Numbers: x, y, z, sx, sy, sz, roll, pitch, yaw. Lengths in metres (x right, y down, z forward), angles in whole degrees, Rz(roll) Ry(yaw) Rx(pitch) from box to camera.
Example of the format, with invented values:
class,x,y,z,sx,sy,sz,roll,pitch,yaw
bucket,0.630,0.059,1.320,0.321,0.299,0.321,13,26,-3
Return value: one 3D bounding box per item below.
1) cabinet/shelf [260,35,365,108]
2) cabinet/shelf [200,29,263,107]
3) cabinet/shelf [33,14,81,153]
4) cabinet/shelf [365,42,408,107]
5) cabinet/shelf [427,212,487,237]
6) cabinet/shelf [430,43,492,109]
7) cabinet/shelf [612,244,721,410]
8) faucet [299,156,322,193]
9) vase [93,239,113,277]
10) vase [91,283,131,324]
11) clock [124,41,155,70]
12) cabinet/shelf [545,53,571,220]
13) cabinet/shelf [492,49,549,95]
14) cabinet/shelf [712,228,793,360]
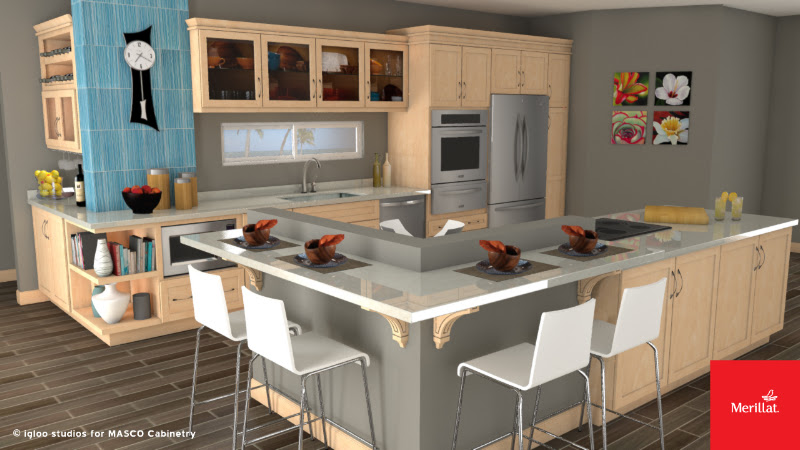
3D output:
class,x,y,z,sx,sy,sz,roll,pitch,yaw
cabinet/shelf,-1.177,-1.917,6.783,0.561,0.900,1.664,19,23,40
cabinet/shelf,-1.934,-1.793,6.189,0.616,0.839,0.173,-5,15,-12
cabinet/shelf,-3.910,-1.589,6.176,0.405,1.479,1.064,-14,18,-36
cabinet/shelf,-0.172,-1.954,7.093,0.697,0.845,0.175,-14,18,-39
cabinet/shelf,0.802,-0.052,7.528,1.037,0.273,0.092,-8,15,-26
cabinet/shelf,0.713,-2.025,7.411,1.106,0.812,0.452,-10,17,-37
cabinet/shelf,2.227,0.881,5.003,1.723,1.263,0.581,-6,10,-36
faucet,-1.173,-0.664,7.154,0.201,0.448,0.359,5,15,26
vase,-3.183,0.352,5.762,0.187,0.391,0.152,-10,16,-27
vase,-3.155,0.853,5.872,0.387,0.426,0.252,-6,15,-15
clock,-2.895,-1.899,6.016,0.382,0.316,0.055,7,19,13
cabinet/shelf,2.444,-1.371,8.316,0.706,2.466,0.239,-16,20,-41
cabinet/shelf,1.630,-2.222,7.901,1.187,0.608,0.381,-11,14,-37
cabinet/shelf,3.471,0.674,5.351,1.457,1.149,0.630,-6,8,-39
